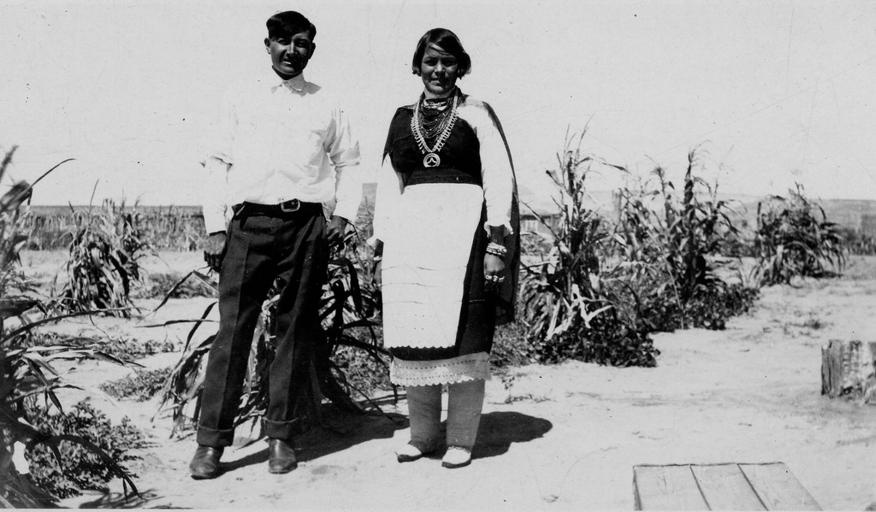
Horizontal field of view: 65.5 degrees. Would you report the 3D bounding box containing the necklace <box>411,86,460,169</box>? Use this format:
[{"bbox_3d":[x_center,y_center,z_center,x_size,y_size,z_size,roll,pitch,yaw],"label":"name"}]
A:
[{"bbox_3d":[-0.020,-0.729,3.953,0.274,0.428,0.108,0,3,0],"label":"necklace"}]

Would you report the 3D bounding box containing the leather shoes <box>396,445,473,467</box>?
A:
[{"bbox_3d":[-0.012,1.168,3.988,0.263,0.071,0.186,6,-6,-13],"label":"leather shoes"}]
